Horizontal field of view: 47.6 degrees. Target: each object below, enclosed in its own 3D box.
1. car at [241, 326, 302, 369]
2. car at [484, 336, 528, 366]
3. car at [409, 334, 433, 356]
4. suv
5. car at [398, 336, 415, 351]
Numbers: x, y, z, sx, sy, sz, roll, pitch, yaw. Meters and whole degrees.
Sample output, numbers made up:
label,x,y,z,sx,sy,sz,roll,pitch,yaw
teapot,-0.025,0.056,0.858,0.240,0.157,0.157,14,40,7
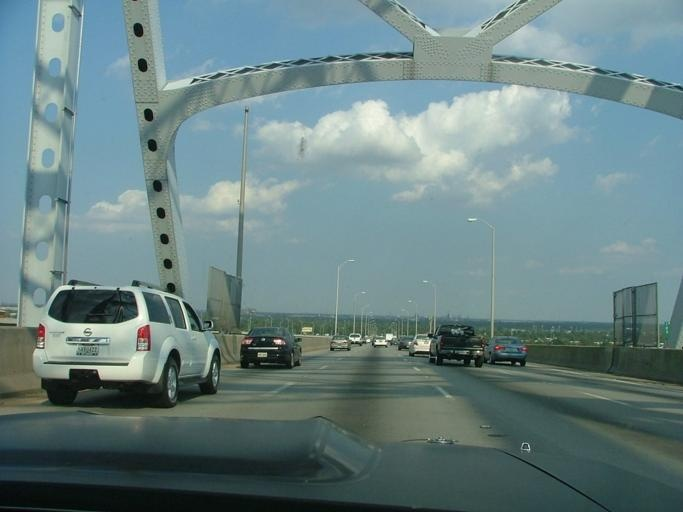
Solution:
label,x,y,z,sx,sy,sz,roll,pitch,yaw
car,-2.372,3.091,26.294,1.593,1.413,2.295,0,-8,8
car,7.562,4.293,35.372,1.296,1.352,2.824,2,-8,-9
car,4.653,5.418,46.293,0.874,0.794,2.249,-1,-1,3
suv,-3.551,1.586,13.834,1.635,2.152,3.129,-3,-8,31
car,5.748,7.885,70.494,1.074,0.934,2.542,1,2,9
